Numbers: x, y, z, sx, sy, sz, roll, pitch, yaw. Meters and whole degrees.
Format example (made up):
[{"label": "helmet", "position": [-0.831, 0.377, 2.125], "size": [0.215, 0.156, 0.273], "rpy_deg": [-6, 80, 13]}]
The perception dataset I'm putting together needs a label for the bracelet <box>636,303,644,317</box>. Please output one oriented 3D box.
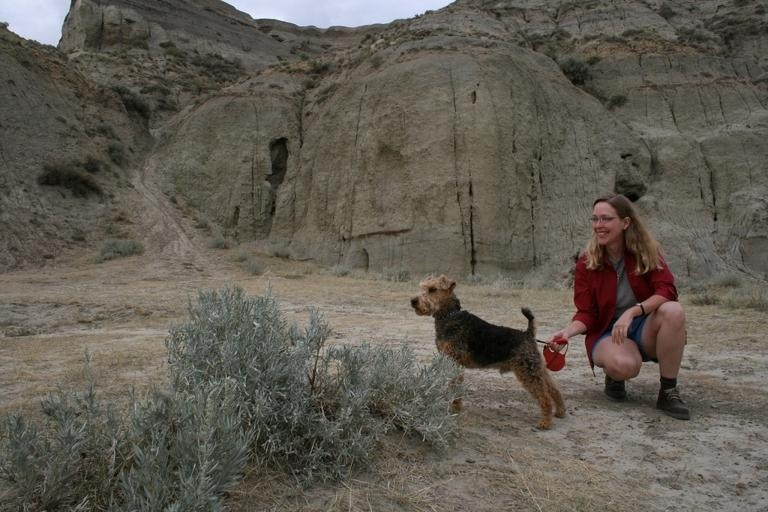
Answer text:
[{"label": "bracelet", "position": [5.273, 1.089, 13.475], "size": [0.067, 0.213, 0.218], "rpy_deg": [-13, 20, -3]}]
